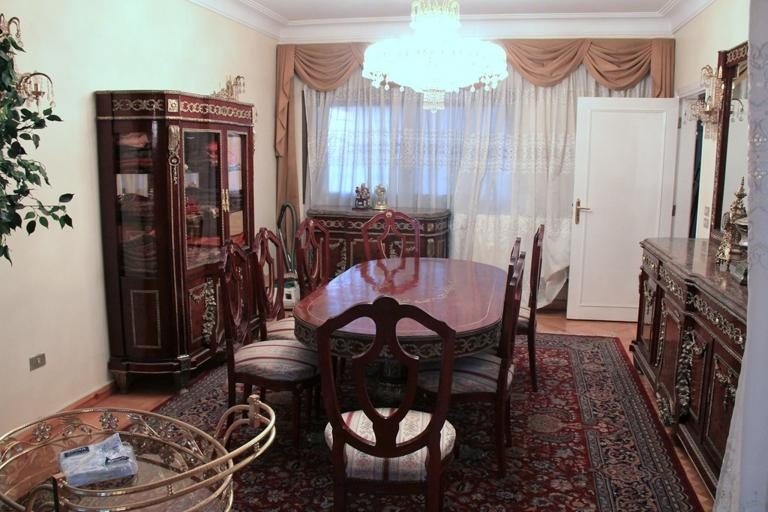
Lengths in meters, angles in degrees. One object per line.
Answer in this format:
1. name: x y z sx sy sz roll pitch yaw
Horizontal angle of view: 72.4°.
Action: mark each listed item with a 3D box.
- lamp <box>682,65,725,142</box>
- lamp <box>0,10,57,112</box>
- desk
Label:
1. lamp: 2.773 -1.323 4.500 0.210 0.621 0.918 8 16 29
2. lamp: -2.168 -1.186 3.213 0.216 0.566 0.547 -7 16 -29
3. desk: 1.813 0.690 3.121 0.450 0.784 1.285 4 12 20
